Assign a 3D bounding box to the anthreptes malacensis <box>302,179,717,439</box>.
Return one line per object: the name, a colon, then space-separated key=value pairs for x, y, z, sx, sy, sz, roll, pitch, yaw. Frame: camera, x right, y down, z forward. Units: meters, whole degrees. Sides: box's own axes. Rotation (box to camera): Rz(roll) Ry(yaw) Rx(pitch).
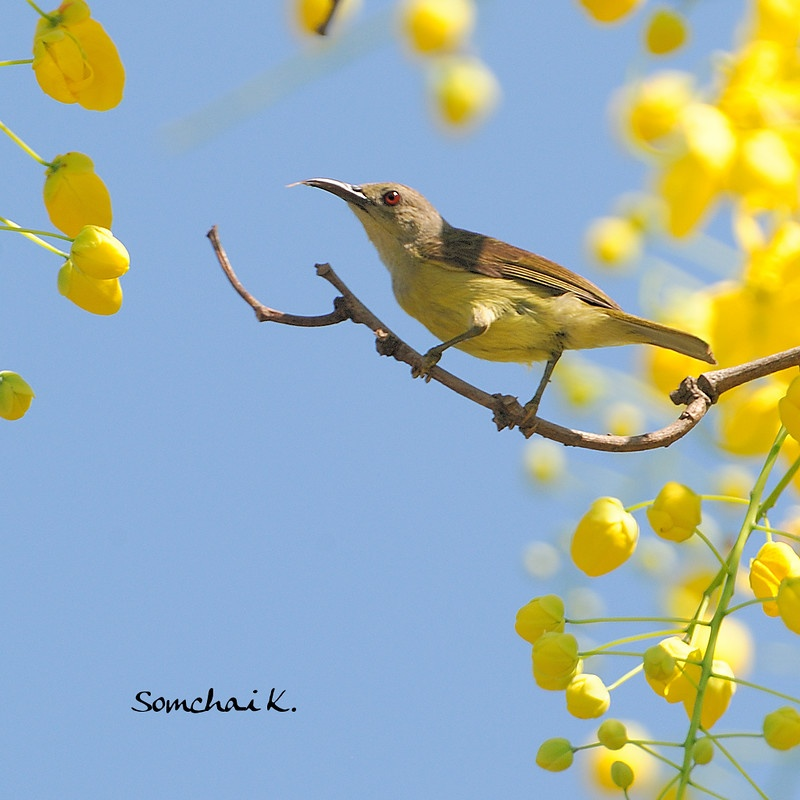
anthreptes malacensis: x=0.305 y=-0.281 z=3.995 sx=0.954 sy=0.616 sz=0.323 roll=-1 pitch=-20 yaw=-13
